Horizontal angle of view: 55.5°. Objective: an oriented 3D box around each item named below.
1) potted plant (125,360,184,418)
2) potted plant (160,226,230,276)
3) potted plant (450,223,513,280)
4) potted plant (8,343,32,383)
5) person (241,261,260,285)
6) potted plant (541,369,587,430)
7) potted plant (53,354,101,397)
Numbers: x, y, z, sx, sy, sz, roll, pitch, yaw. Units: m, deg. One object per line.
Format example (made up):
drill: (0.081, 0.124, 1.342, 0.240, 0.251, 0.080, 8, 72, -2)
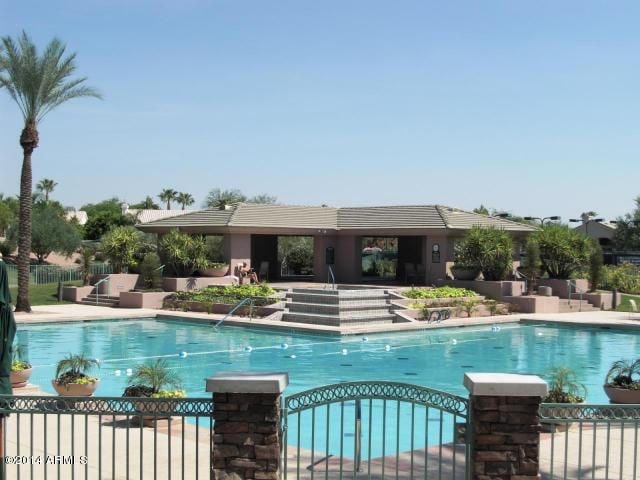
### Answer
potted plant: (-2.770, 2.523, 10.304, 1.064, 0.887, 0.978, -3, -8, -14)
potted plant: (-6.630, 0.850, 32.226, 3.295, 2.553, 3.236, 4, -9, -26)
potted plant: (8.196, 0.693, 30.563, 1.347, 2.811, 2.452, 5, -9, -41)
potted plant: (-6.035, 2.492, 12.198, 0.425, 0.493, 0.416, -1, -3, -39)
person: (-3.763, 1.713, 31.900, 0.878, 1.227, 1.053, 0, -7, -7)
potted plant: (3.885, 2.613, 9.975, 0.923, 0.849, 0.876, 12, -14, -27)
potted plant: (-4.684, 2.595, 11.576, 0.893, 0.627, 0.832, 2, -1, 10)
